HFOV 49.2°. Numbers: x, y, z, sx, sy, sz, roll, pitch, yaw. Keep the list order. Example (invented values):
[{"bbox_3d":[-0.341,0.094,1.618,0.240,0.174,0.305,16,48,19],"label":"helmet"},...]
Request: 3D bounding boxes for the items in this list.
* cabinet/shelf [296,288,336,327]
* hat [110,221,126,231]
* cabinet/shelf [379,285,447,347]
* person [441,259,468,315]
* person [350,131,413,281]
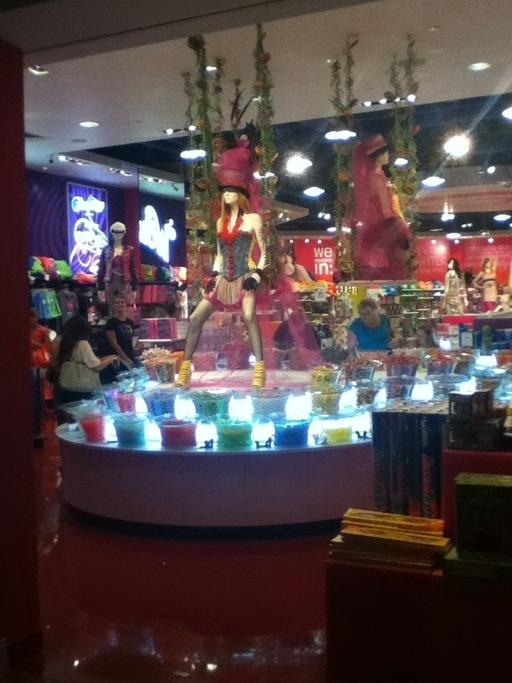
[{"bbox_3d":[0.586,-0.336,5.609,0.381,0.660,0.372,-2,2,-1],"label":"cabinet/shelf"},{"bbox_3d":[-1.880,-1.569,7.676,0.153,0.162,0.300,-3,1,-4],"label":"hat"},{"bbox_3d":[1.677,-0.276,5.893,0.387,0.685,0.744,-1,2,31],"label":"cabinet/shelf"},{"bbox_3d":[2.444,-0.665,6.886,0.283,0.540,0.734,-3,1,20],"label":"person"},{"bbox_3d":[0.929,-0.991,4.158,0.430,0.911,0.296,-3,1,11],"label":"person"}]
